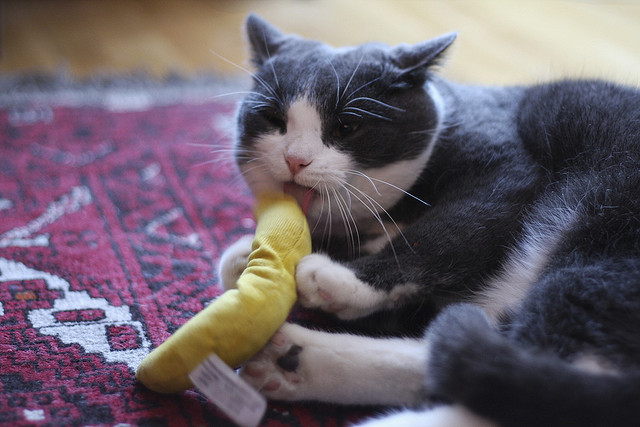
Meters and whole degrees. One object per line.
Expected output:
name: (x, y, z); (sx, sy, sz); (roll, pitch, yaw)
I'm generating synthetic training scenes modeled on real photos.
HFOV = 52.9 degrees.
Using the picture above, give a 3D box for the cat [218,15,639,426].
cat: (0.288, 0.016, 1.704); (1.034, 0.803, 1.022); (11, 34, -12)
